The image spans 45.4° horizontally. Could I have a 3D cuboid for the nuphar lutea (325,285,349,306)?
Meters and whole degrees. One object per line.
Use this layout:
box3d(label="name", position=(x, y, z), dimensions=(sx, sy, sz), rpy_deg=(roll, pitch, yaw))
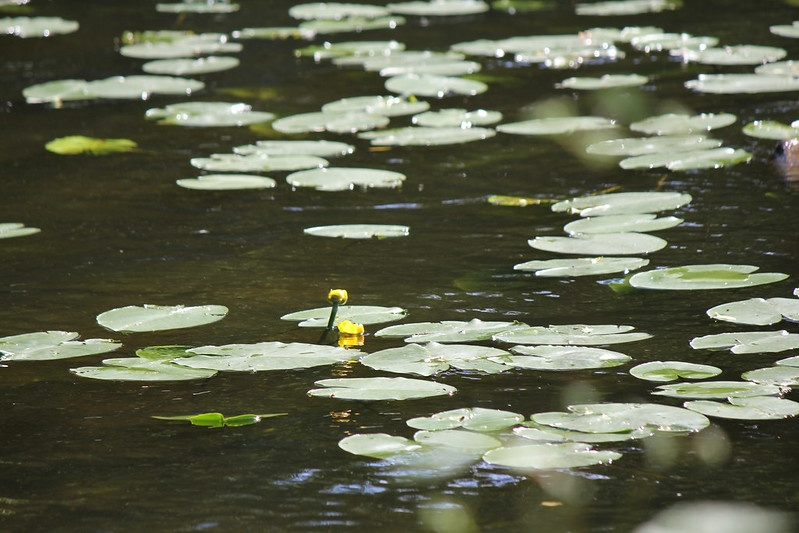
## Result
box3d(label="nuphar lutea", position=(-0.154, 0.090, 2.724), dimensions=(0.104, 0.043, 0.061), rpy_deg=(-2, 12, -11))
